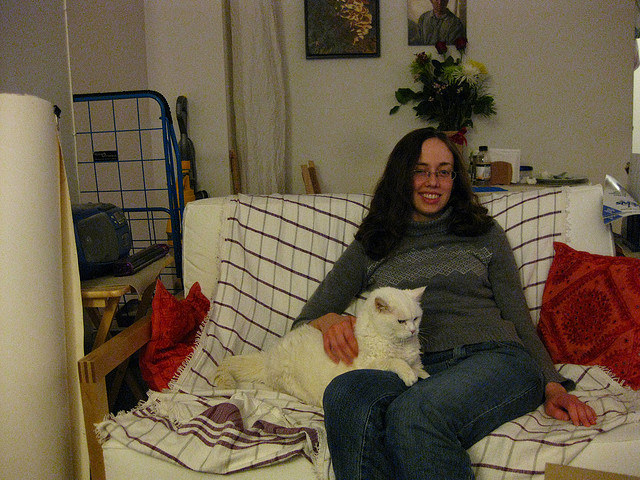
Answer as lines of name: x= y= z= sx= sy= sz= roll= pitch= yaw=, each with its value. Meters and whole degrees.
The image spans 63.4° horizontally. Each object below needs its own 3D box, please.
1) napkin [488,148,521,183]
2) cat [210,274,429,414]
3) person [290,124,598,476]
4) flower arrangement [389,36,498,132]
napkin: x=1.361 y=-0.540 z=3.836 sx=0.235 sy=0.297 sz=0.037 roll=3 pitch=9 yaw=15
cat: x=-0.006 y=0.406 z=2.084 sx=0.871 sy=0.412 sz=0.375 roll=-5 pitch=-2 yaw=11
person: x=0.496 y=0.418 z=2.373 sx=1.121 sy=1.824 sz=1.250 roll=-9 pitch=-28 yaw=17
flower arrangement: x=1.087 y=-1.270 z=4.343 sx=0.767 sy=0.709 sz=0.779 roll=5 pitch=-1 yaw=-11
